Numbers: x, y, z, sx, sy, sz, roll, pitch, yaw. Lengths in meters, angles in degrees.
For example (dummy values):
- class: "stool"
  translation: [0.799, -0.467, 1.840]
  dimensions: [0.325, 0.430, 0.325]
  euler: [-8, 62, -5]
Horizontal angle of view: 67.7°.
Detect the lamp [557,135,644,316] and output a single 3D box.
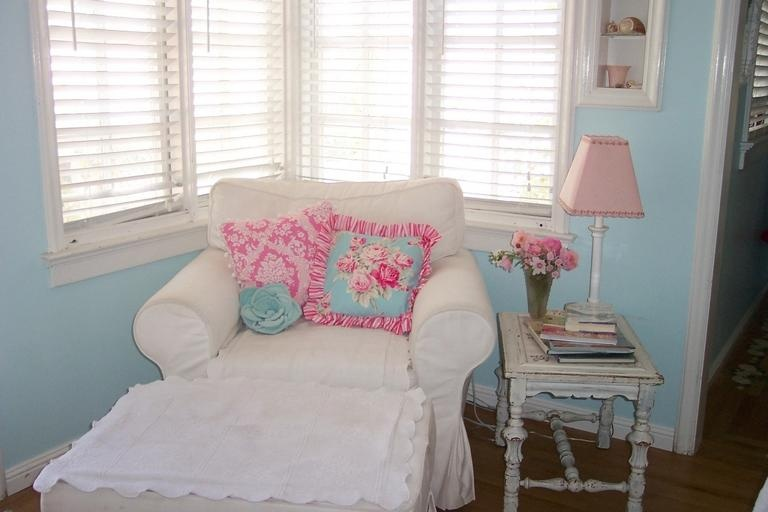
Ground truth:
- class: "lamp"
  translation: [0.972, -0.141, 2.592]
  dimensions: [0.341, 0.774, 0.320]
  euler: [4, 16, 8]
